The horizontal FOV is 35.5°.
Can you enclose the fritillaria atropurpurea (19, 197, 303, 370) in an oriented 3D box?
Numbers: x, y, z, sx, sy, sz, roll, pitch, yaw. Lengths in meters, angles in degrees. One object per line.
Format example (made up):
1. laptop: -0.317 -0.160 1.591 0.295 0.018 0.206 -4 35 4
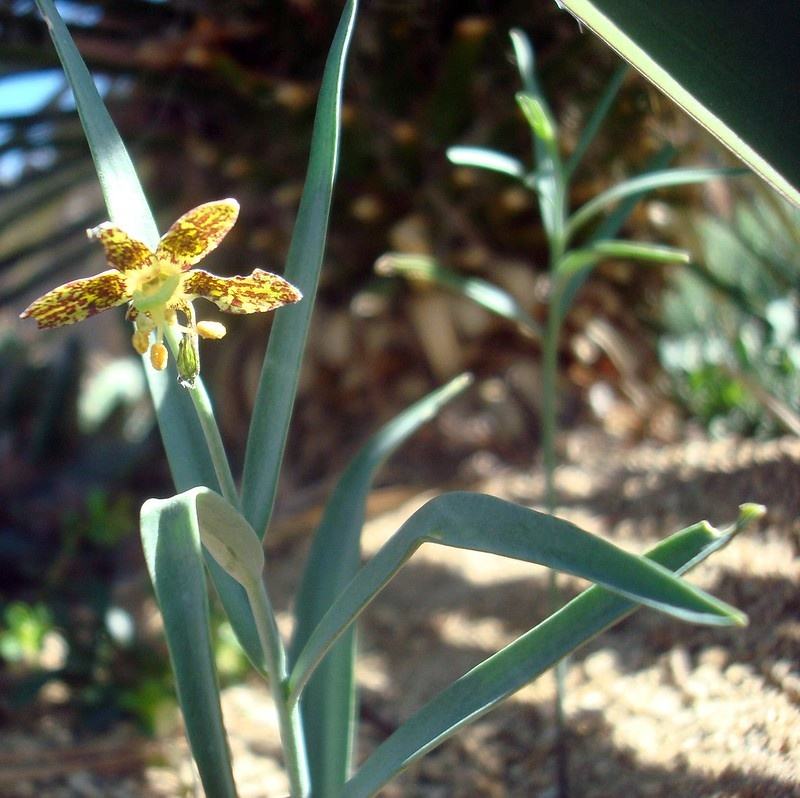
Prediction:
1. fritillaria atropurpurea: -0.172 -0.081 0.893 0.155 0.141 0.063 -6 -28 -4
